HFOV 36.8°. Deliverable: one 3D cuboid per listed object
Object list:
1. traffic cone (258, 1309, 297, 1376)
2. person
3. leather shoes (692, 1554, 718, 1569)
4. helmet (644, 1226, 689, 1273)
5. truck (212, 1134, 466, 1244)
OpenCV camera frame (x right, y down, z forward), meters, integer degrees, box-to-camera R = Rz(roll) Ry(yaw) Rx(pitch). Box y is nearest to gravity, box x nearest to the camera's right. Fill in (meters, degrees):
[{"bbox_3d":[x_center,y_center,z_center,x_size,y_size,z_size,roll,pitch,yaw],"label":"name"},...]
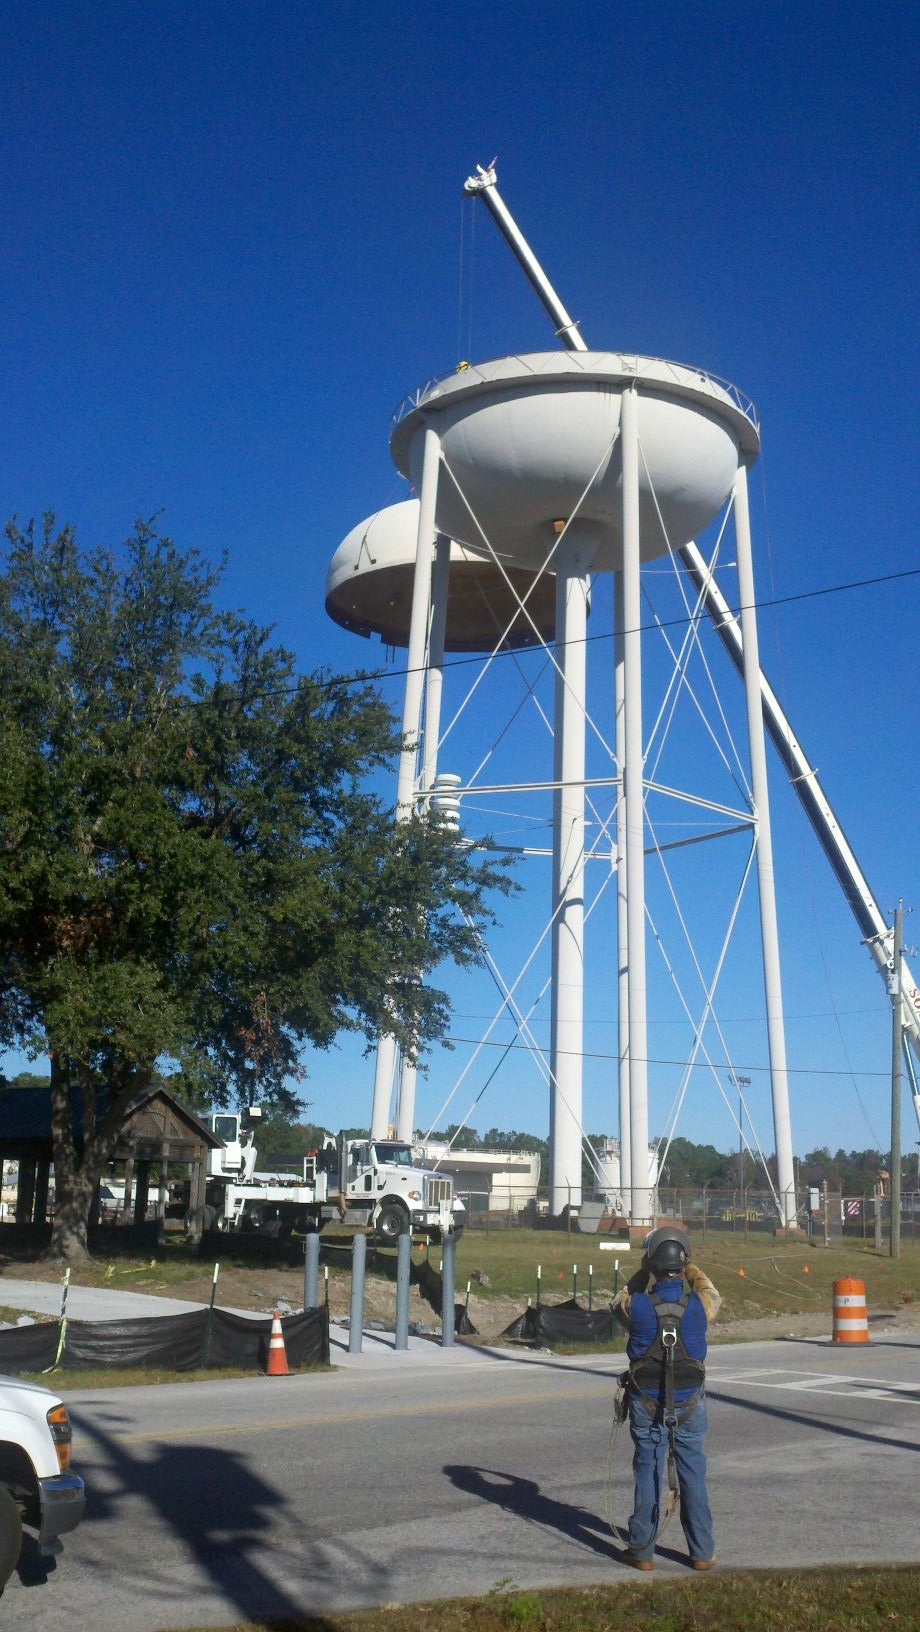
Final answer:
[{"bbox_3d":[-2.080,6.054,15.850,0.275,0.648,0.804,3,-12,-7],"label":"traffic cone"},{"bbox_3d":[1.084,3.023,7.240,0.522,1.659,0.963,-1,-12,11],"label":"person"},{"bbox_3d":[1.172,3.616,6.687,0.108,0.054,0.197,-1,-13,8],"label":"leather shoes"},{"bbox_3d":[1.058,2.242,7.197,0.194,0.253,0.238,3,10,0],"label":"helmet"},{"bbox_3d":[-3.843,10.502,39.121,5.655,2.807,10.128,9,-15,-31],"label":"truck"}]
